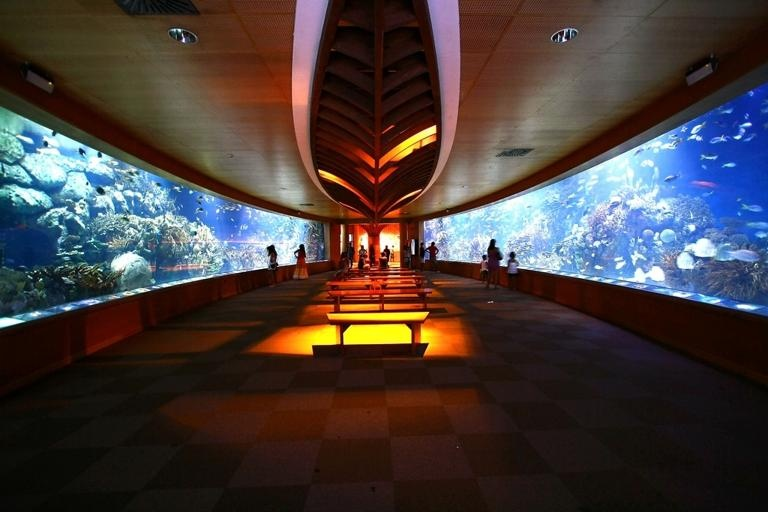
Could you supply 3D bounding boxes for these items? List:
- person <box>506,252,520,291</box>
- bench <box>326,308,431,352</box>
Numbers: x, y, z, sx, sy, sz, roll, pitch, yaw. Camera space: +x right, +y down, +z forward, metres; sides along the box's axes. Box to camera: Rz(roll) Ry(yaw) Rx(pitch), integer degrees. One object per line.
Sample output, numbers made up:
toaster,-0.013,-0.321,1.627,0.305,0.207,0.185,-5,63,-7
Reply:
person,4.302,0.492,13.883,0.385,1.284,1.226,2,3,16
bench,-0.106,1.324,7.699,1.763,0.666,0.966,1,3,3
